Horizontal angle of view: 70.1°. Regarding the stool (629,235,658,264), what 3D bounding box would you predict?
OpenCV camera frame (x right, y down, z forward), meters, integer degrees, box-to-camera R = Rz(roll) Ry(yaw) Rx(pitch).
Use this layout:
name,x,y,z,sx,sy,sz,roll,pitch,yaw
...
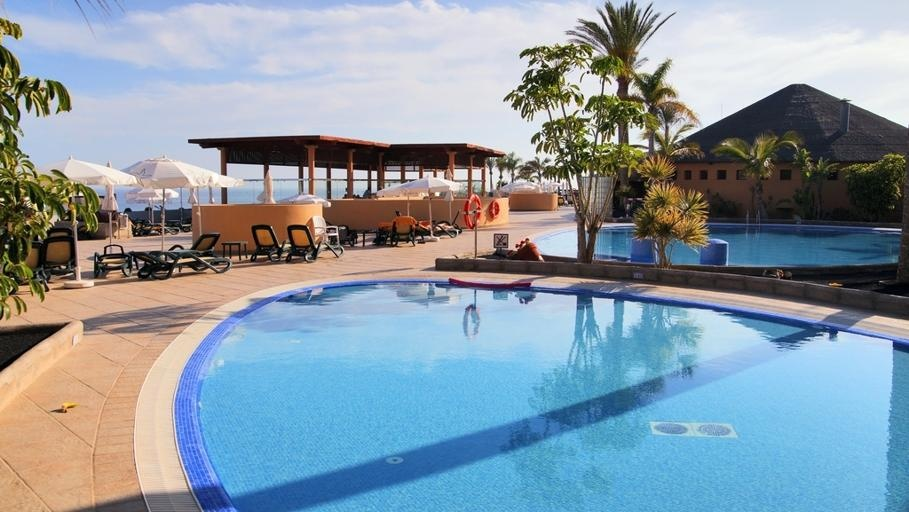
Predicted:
name,x,y,z,sx,sy,sz,roll,pitch,yaw
stool,5.709,-0.180,19.875,0.632,0.677,1.001,0,4,12

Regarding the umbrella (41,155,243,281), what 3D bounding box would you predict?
name,x,y,z,sx,sy,sz,roll,pitch,yaw
umbrella,-8.259,-1.046,16.931,2.692,3.159,4.857,0,4,16

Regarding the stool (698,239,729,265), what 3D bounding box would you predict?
name,x,y,z,sx,sy,sz,roll,pitch,yaw
stool,7.044,-0.072,17.619,0.682,0.664,1.173,0,4,18

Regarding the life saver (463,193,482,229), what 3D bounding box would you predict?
name,x,y,z,sx,sy,sz,roll,pitch,yaw
life saver,0.489,-1.184,17.746,0.312,0.929,1.006,7,12,26
